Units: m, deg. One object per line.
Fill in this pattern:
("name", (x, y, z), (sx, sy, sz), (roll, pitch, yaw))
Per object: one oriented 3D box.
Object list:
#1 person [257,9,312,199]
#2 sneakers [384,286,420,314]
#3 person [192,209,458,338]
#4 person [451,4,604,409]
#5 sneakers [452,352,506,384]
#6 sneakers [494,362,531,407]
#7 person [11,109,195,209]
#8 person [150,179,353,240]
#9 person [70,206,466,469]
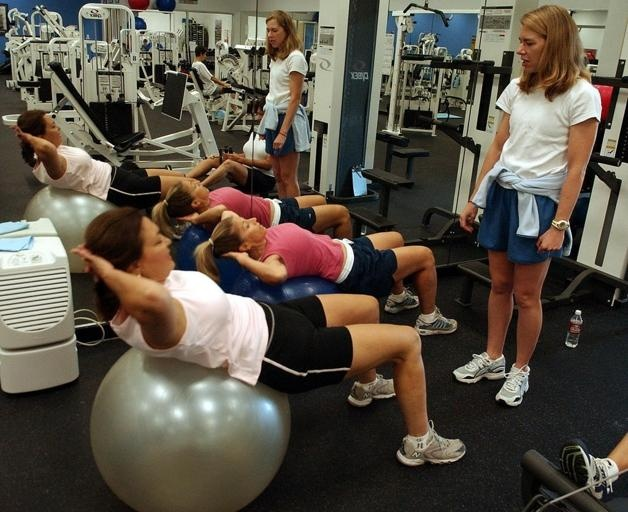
("person", (-0.215, -0.998, 3.305), (0.347, 1.249, 0.627), (0, 20, 2))
("sneakers", (0.588, 0.274, 3.200), (0.282, 0.152, 0.114), (-11, 23, -26))
("person", (0.109, 0.118, 2.550), (1.408, 0.620, 0.642), (-2, 15, -18))
("person", (0.978, -0.176, 2.234), (0.527, 1.825, 0.350), (12, 22, 31))
("sneakers", (0.900, 0.608, 2.587), (0.293, 0.163, 0.132), (-5, 12, -7))
("sneakers", (1.025, 0.663, 2.371), (0.100, 0.134, 0.277), (2, 18, 31))
("person", (-1.368, -0.676, 3.388), (1.351, 0.642, 0.487), (-9, 36, -35))
("person", (-0.328, -0.302, 2.916), (1.275, 0.519, 0.474), (-4, 18, -24))
("person", (-0.086, 0.267, 1.751), (1.204, 1.088, 0.616), (-11, 17, -16))
